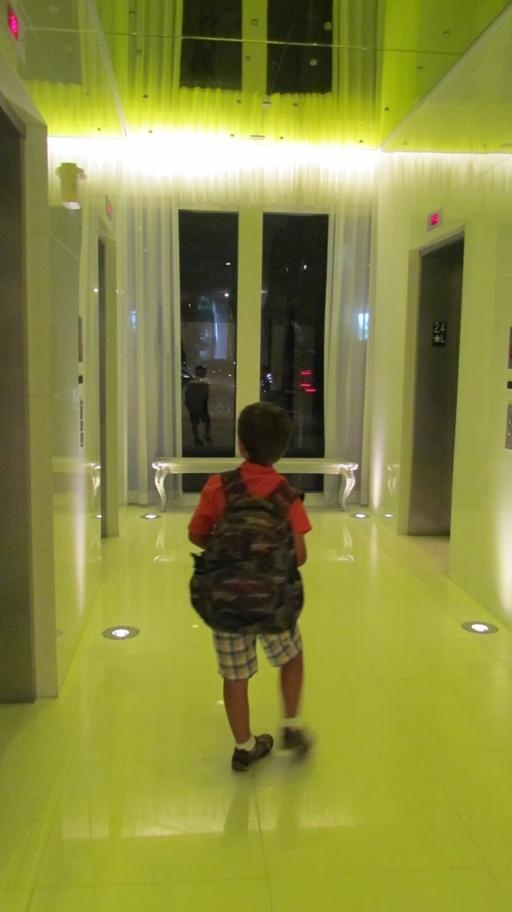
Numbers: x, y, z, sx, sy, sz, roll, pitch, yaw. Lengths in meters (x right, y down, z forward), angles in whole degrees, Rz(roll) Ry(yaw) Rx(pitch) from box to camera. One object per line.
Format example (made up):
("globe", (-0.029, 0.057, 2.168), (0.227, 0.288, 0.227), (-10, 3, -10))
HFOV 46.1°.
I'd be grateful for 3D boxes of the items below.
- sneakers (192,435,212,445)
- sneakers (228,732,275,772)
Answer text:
("sneakers", (-0.468, -0.144, 5.208), (0.140, 0.116, 0.051), (-8, 16, -16))
("sneakers", (-0.010, 0.895, 1.860), (0.052, 0.076, 0.158), (2, 8, 25))
